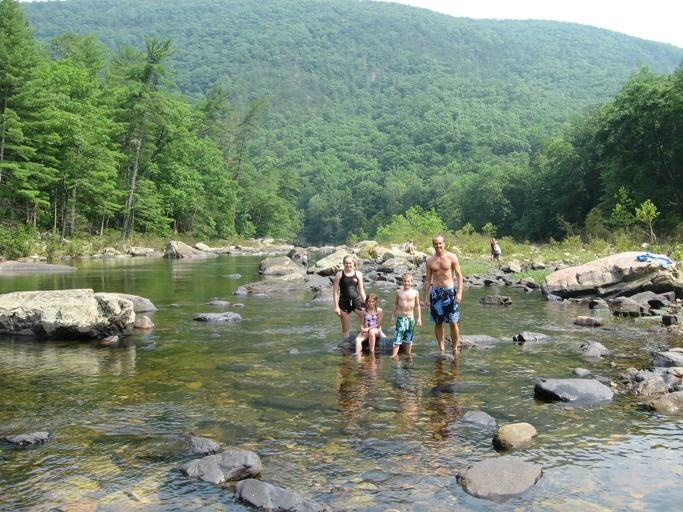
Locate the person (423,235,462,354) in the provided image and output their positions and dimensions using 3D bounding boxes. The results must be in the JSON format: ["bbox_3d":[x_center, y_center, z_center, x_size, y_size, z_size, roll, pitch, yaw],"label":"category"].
[{"bbox_3d":[2.374,0.901,14.222,0.872,2.762,1.109,3,13,9],"label":"person"}]
